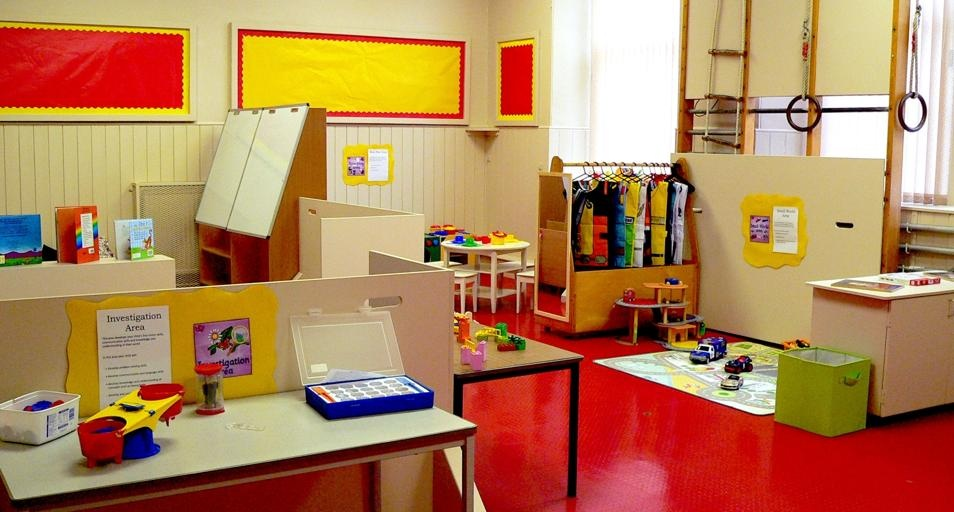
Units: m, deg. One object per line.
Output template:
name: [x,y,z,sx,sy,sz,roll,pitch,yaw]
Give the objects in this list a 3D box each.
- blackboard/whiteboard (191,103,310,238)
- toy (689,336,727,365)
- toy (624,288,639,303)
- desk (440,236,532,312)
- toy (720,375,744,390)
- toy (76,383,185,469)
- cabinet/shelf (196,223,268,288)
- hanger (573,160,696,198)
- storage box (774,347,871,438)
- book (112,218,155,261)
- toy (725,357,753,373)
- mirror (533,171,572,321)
blackboard/whiteboard: [-2.661,-0.978,7.638,0.594,1.471,1.609,10,9,-42]
toy: [2.516,1.029,6.973,0.436,0.192,0.216,-4,6,-40]
toy: [1.774,0.457,7.463,0.192,0.183,0.118,-3,8,-12]
desk: [0.141,0.111,8.719,1.103,0.700,1.078,-9,13,-41]
toy: [2.518,1.238,6.374,0.189,0.104,0.300,2,9,31]
toy: [-1.723,0.836,3.308,0.266,0.200,0.514,10,19,15]
cabinet/shelf: [-2.800,-0.011,7.457,0.283,0.754,0.843,-2,5,-38]
hanger: [1.912,-0.949,7.954,1.167,0.438,1.080,-10,11,-43]
storage box: [3.014,1.117,5.777,0.768,0.684,0.772,8,11,40]
book: [-2.821,-0.141,5.328,0.286,0.313,0.228,-7,8,-29]
toy: [2.719,1.133,6.684,0.271,0.111,0.164,-10,14,-29]
mirror: [0.928,-0.147,7.929,0.485,1.767,1.111,-2,7,5]
